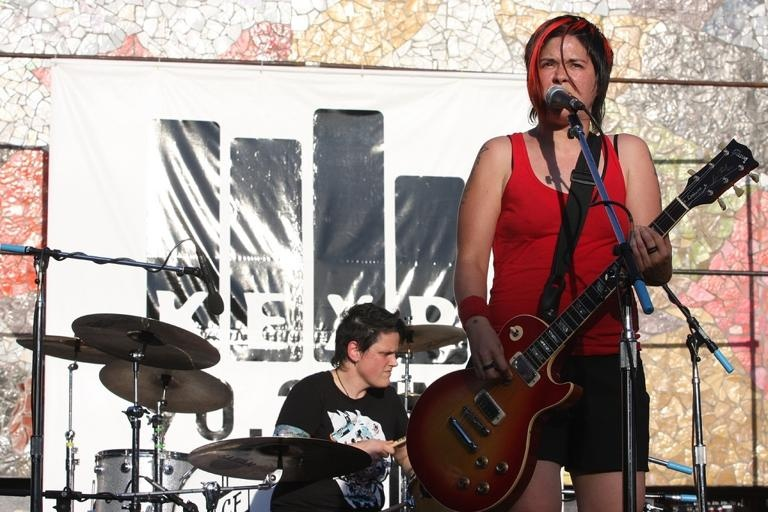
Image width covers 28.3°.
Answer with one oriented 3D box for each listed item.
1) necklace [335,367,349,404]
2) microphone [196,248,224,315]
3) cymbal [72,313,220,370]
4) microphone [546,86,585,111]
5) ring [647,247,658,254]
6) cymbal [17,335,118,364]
[{"bbox_3d":[-0.307,0.975,11.376,0.038,0.297,0.050,-12,-32,-29],"label":"necklace"},{"bbox_3d":[-1.413,0.219,12.253,0.156,0.525,0.142,-25,-6,9],"label":"microphone"},{"bbox_3d":[-1.847,0.650,11.699,0.905,0.510,0.599,4,-4,-30],"label":"cymbal"},{"bbox_3d":[1.178,-1.033,9.865,0.106,0.108,0.344,-19,21,-26],"label":"microphone"},{"bbox_3d":[1.734,-0.044,9.703,0.049,0.016,0.047,-18,-16,-6],"label":"ring"},{"bbox_3d":[-2.526,0.762,12.088,0.535,0.296,0.664,9,2,-40],"label":"cymbal"}]
